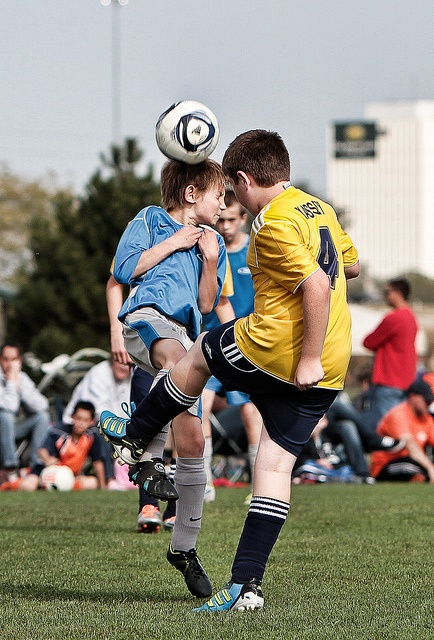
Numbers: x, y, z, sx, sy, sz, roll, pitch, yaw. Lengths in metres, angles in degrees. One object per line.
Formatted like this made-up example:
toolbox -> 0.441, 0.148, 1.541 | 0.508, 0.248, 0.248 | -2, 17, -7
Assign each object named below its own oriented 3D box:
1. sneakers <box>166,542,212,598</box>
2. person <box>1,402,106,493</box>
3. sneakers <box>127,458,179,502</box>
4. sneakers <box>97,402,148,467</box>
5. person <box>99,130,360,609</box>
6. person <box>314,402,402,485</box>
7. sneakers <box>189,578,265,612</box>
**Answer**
sneakers -> -0.117, 0.825, 3.442 | 0.070, 0.099, 0.194 | -20, 57, -30
person -> -1.213, 0.969, 8.073 | 0.714, 0.731, 0.398 | 2, 3, -7
sneakers -> -0.198, 0.510, 3.405 | 0.081, 0.103, 0.227 | -4, 19, -36
sneakers -> -0.326, 0.397, 3.571 | 0.093, 0.132, 0.254 | 34, 9, -49
person -> 0.132, 0.111, 3.363 | 0.589, 1.487, 0.569 | 0, 3, -32
person -> 1.150, 1.026, 8.989 | 0.698, 0.859, 0.445 | -5, 9, 45
sneakers -> 0.049, 0.814, 3.115 | 0.245, 0.112, 0.084 | -7, -16, 17
